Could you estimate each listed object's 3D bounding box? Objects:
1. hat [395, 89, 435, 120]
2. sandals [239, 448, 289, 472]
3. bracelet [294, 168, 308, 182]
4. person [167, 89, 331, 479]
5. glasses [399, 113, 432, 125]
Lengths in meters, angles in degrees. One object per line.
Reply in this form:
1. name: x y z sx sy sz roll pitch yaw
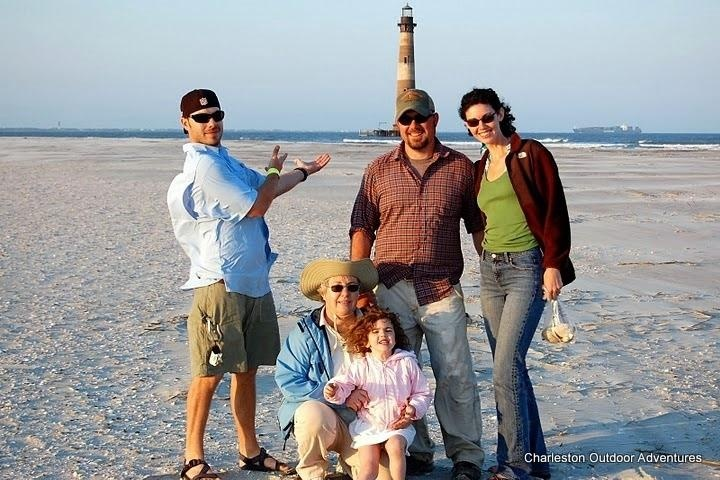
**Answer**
1. hat: 0.460 -1.154 6.350 0.312 0.244 0.220 -2 9 3
2. sandals: -0.783 1.839 6.248 0.475 0.165 0.151 2 5 -2
3. bracelet: -0.500 -0.570 6.454 0.146 0.126 0.052 2 -3 -9
4. person: -1.049 0.357 6.077 1.054 3.130 0.797 -5 10 -16
5. glasses: 0.440 -1.021 6.298 0.140 0.038 0.132 -4 -17 9
